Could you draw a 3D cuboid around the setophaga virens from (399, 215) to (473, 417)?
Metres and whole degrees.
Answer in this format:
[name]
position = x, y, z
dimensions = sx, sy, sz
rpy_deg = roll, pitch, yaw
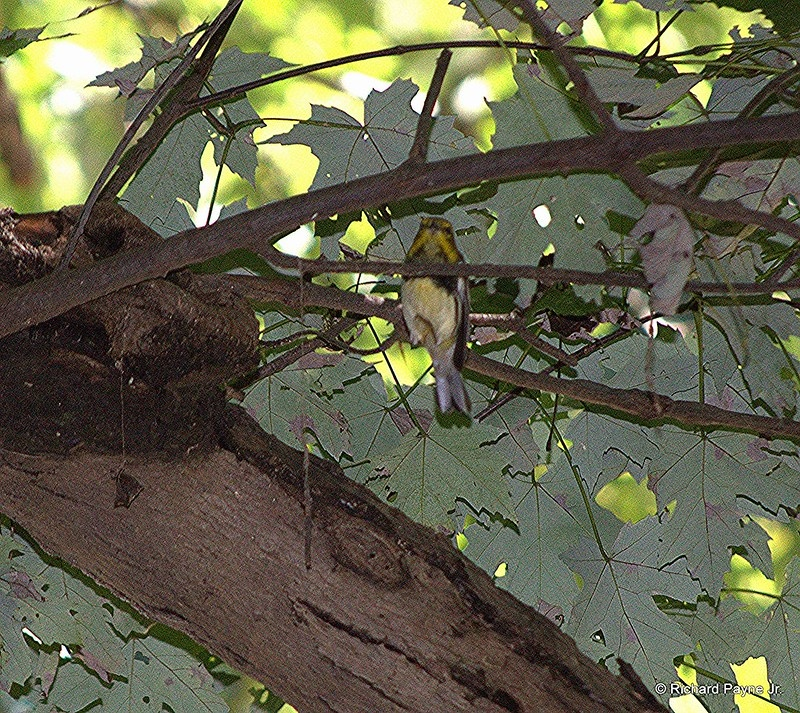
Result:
[setophaga virens]
position = 0.110, -0.131, 3.075
dimensions = 0.215, 0.231, 0.504
rpy_deg = -1, -105, -12
